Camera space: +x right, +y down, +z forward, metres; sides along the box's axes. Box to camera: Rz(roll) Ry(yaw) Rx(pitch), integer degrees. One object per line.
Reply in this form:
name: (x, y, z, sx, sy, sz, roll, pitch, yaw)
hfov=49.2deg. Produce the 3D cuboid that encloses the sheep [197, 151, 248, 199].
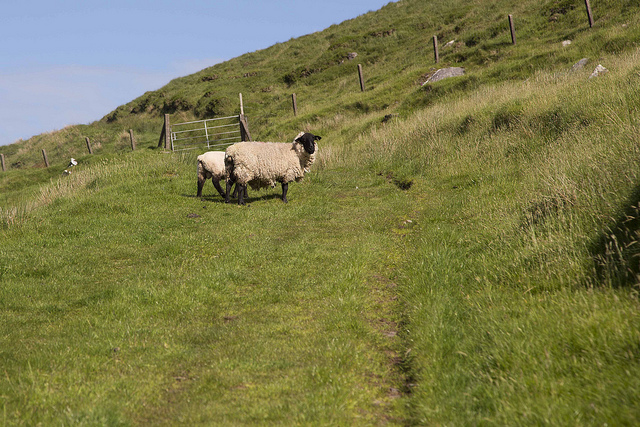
sheep: (-4.159, -1.662, 29.636, 0.820, 2.058, 2.980, -3, 0, 27)

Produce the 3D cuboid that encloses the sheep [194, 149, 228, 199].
sheep: (-4.337, -1.724, 29.765, 0.955, 2.023, 3.223, 1, 6, 17)
